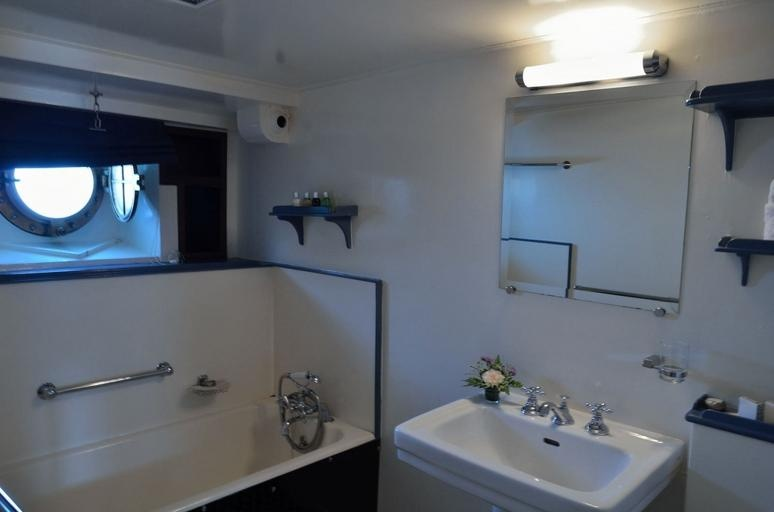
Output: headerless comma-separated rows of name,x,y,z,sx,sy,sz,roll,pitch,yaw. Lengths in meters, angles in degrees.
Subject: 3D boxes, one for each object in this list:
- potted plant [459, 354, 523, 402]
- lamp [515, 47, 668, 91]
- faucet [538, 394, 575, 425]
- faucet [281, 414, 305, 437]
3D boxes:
potted plant,0.574,0.653,2.956,0.241,0.180,0.246,1,-2,1
lamp,0.981,-0.941,2.713,0.711,0.146,0.129,8,33,41
faucet,0.863,0.790,2.756,0.171,0.120,0.093,7,-8,-40
faucet,-0.661,1.156,3.729,0.172,0.179,0.063,-2,45,-38
